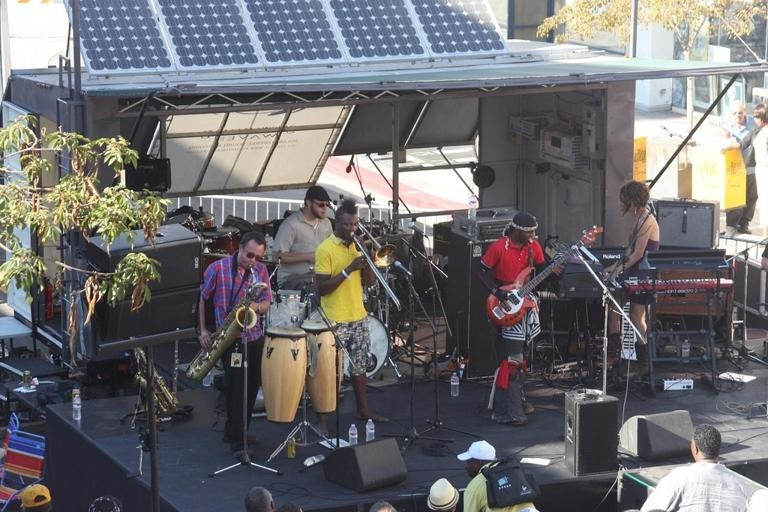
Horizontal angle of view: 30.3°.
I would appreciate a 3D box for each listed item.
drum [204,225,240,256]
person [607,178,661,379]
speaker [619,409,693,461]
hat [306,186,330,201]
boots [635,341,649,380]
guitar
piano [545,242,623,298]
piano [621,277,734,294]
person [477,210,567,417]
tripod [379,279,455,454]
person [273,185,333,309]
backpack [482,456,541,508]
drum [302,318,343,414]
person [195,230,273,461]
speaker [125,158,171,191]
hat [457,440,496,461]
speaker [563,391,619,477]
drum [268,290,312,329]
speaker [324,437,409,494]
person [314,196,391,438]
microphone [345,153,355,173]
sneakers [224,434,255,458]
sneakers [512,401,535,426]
[{"bbox_3d":[-2.425,-0.248,21.346,0.457,0.373,0.468,-3,20,1],"label":"drum"},{"bbox_3d":[3.472,0.307,19.410,0.769,2.768,0.807,2,1,9],"label":"person"},{"bbox_3d":[3.332,2.125,17.515,0.662,0.527,0.665,-4,5,-21],"label":"speaker"},{"bbox_3d":[-0.845,-0.812,18.157,0.251,0.142,0.191,-2,7,-10],"label":"hat"},{"bbox_3d":[3.601,1.465,19.731,0.255,0.444,0.111,-3,-1,14],"label":"boots"},{"bbox_3d":[1.957,0.294,18.083,1.237,1.229,0.605,3,14,18],"label":"guitar"},{"bbox_3d":[2.716,0.270,19.043,0.739,0.756,1.089,-3,6,-2],"label":"piano"},{"bbox_3d":[3.976,0.385,19.225,1.530,0.244,0.271,-4,13,-12],"label":"piano"},{"bbox_3d":[1.764,0.835,18.456,0.911,2.855,1.092,3,-2,-36],"label":"person"},{"bbox_3d":[0.389,1.451,18.163,0.622,1.932,0.955,4,-7,1],"label":"tripod"},{"bbox_3d":[-1.099,-0.120,18.551,0.622,1.570,0.643,1,-5,0],"label":"person"},{"bbox_3d":[1.395,2.533,15.665,0.609,0.446,0.368,-1,13,3],"label":"backpack"},{"bbox_3d":[-0.754,1.397,17.546,0.483,1.190,0.409,-3,13,-6],"label":"drum"},{"bbox_3d":[-1.774,1.012,17.338,0.976,2.622,1.021,0,1,-32],"label":"person"},{"bbox_3d":[-3.132,-1.090,18.590,0.571,0.496,0.309,0,-1,-18],"label":"speaker"},{"bbox_3d":[1.060,2.277,16.326,0.405,0.207,0.267,2,-1,13],"label":"hat"},{"bbox_3d":[2.509,2.148,17.096,0.646,0.939,0.467,1,13,8],"label":"speaker"},{"bbox_3d":[-1.223,0.706,18.153,0.461,0.453,0.452,5,9,-7],"label":"drum"},{"bbox_3d":[-0.232,2.412,16.872,0.687,0.466,0.697,3,3,43],"label":"speaker"},{"bbox_3d":[-0.383,0.756,17.756,0.965,2.692,0.829,0,1,-32],"label":"person"},{"bbox_3d":[-0.582,-1.387,22.908,0.106,0.504,0.089,25,52,6],"label":"microphone"},{"bbox_3d":[-1.796,2.363,17.486,0.187,0.181,0.451,-1,14,-32],"label":"sneakers"},{"bbox_3d":[1.809,2.006,18.279,0.163,0.254,0.489,4,14,22],"label":"sneakers"}]
